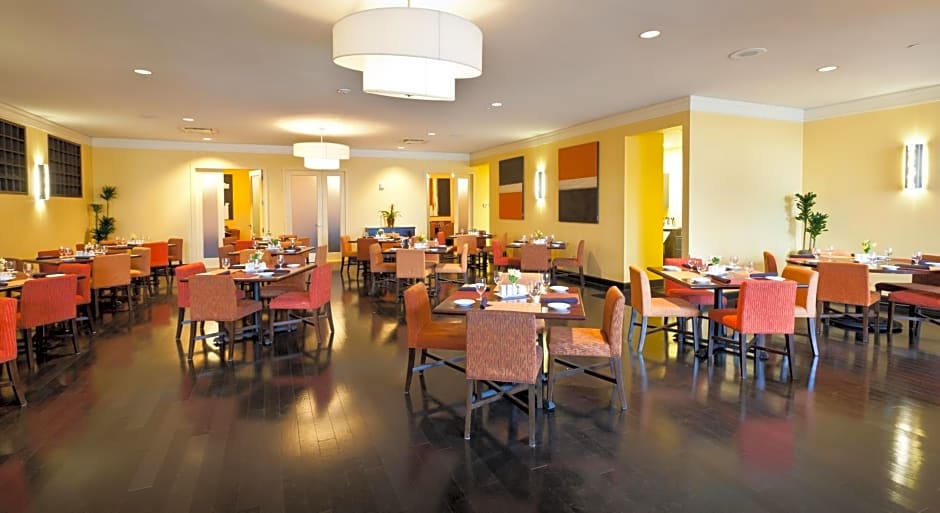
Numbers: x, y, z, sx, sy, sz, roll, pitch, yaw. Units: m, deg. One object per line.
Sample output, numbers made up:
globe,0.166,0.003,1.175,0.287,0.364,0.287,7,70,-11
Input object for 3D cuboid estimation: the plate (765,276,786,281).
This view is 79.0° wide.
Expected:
plate,4.651,0.341,8.669,0.237,0.022,0.758,1,4,24

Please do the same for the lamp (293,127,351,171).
lamp,-3.248,-2.582,12.884,0.909,0.568,0.872,18,34,21

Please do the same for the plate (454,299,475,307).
plate,-0.071,0.632,7.832,0.292,0.071,0.232,1,4,13

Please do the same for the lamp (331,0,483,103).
lamp,-0.775,-2.776,7.743,1.540,1.073,1.603,1,2,23

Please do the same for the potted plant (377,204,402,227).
potted plant,-2.377,-1.240,17.276,0.703,0.578,0.750,0,-2,45
